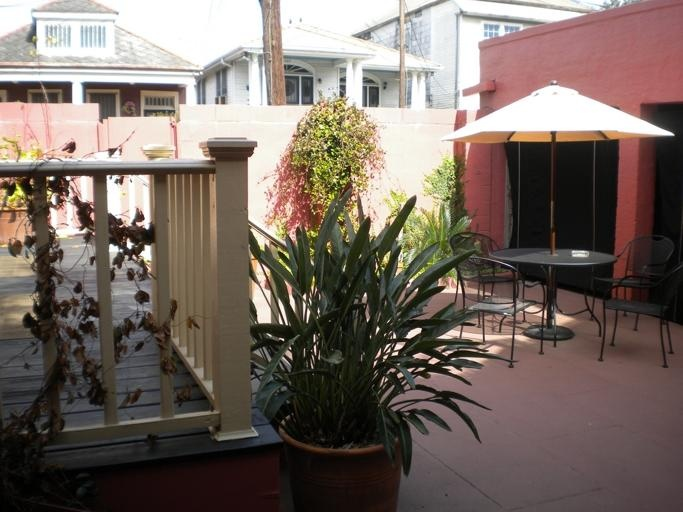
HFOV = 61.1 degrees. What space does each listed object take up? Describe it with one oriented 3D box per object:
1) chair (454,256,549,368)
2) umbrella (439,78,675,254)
[{"bbox_3d":[1.544,0.551,5.510,0.676,1.220,0.861,13,24,38],"label":"chair"},{"bbox_3d":[2.137,-0.601,5.734,1.881,1.514,2.050,2,6,34],"label":"umbrella"}]
